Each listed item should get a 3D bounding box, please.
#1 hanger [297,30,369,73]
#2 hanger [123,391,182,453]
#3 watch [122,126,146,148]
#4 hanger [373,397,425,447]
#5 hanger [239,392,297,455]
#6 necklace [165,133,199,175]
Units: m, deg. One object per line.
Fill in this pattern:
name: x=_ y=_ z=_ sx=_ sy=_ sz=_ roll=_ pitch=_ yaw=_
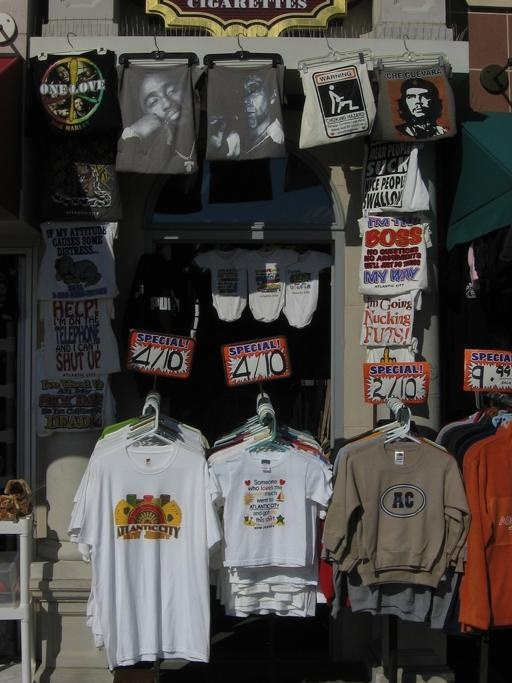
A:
hanger: x=0.436 y=-1.656 z=7.265 sx=0.357 sy=0.249 sz=0.066 roll=-5 pitch=-17 yaw=-2
hanger: x=-0.528 y=0.460 z=6.859 sx=0.230 sy=0.323 sz=0.257 roll=29 pitch=-52 yaw=-34
watch: x=-0.692 y=-1.154 z=7.140 sx=0.108 sy=0.096 sz=0.048 roll=-14 pitch=-26 yaw=-2
hanger: x=0.757 y=0.430 z=6.835 sx=0.235 sy=0.216 sz=0.344 roll=-2 pitch=2 yaw=-3
hanger: x=0.050 y=0.458 z=6.865 sx=0.197 sy=0.108 sz=0.289 roll=-14 pitch=16 yaw=6
necklace: x=-0.426 y=-1.056 z=7.099 sx=0.213 sy=0.284 sz=0.029 roll=-1 pitch=-4 yaw=3
